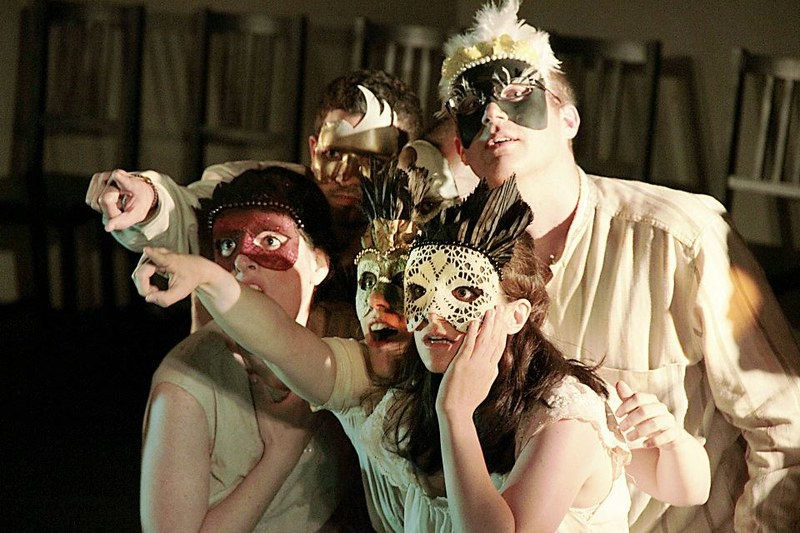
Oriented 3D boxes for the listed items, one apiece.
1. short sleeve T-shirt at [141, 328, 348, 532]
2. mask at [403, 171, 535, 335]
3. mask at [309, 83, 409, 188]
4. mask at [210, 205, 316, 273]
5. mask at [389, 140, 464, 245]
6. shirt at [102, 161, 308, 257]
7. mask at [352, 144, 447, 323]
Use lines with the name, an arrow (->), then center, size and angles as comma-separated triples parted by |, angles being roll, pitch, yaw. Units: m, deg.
short sleeve T-shirt -> -0.414, 0.441, 2.526 | 0.259, 0.514, 0.443 | -2, 17, 30
mask -> 0.134, 0.004, 2.304 | 0.356, 0.512, 0.168 | 7, 9, 33
mask -> -0.129, -0.369, 2.820 | 0.298, 0.301, 0.223 | 5, -6, -34
mask -> -0.411, -0.055, 2.647 | 0.329, 0.222, 0.145 | -1, -4, 28
mask -> 0.070, -0.193, 2.562 | 0.130, 0.158, 0.259 | -8, 33, 3
shirt -> -0.517, -0.209, 3.038 | 0.232, 0.293, 0.871 | 5, 10, 41
mask -> -0.033, -0.038, 2.530 | 0.249, 0.454, 0.181 | 2, -4, -7
